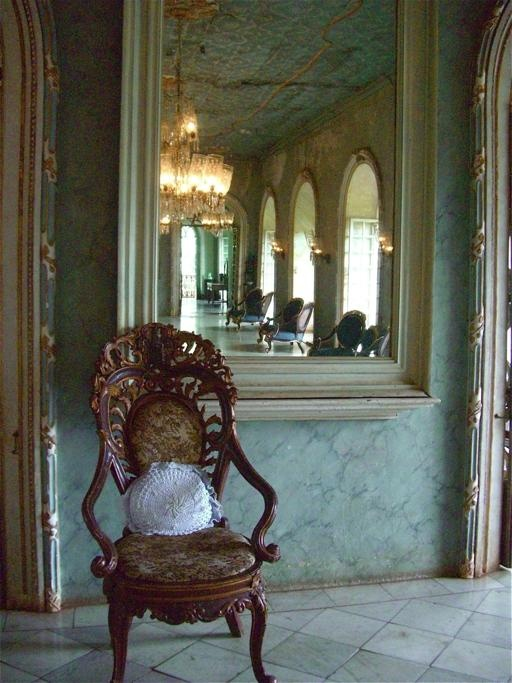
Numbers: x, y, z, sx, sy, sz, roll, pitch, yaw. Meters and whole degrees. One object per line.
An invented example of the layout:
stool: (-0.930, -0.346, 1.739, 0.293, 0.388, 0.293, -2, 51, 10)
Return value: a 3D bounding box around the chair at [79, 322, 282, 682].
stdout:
chair: (-0.256, 0.493, 2.271, 0.582, 1.057, 0.761, 0, 6, -13)
